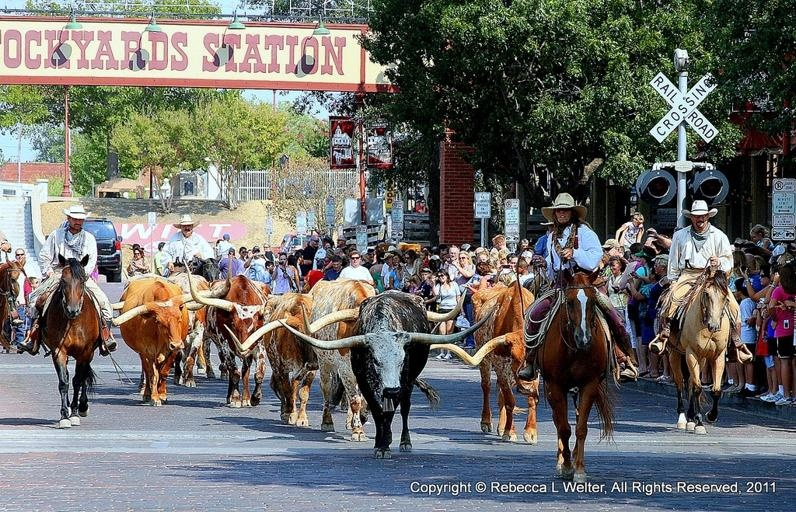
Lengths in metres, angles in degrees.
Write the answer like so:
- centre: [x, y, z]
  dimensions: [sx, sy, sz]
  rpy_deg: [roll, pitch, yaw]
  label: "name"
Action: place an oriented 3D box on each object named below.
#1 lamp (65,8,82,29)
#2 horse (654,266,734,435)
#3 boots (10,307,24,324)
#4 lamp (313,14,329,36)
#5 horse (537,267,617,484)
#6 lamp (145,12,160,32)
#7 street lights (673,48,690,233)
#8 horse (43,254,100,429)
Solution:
- centre: [-12.725, -9.270, 69.102]
  dimensions: [0.760, 0.742, 0.733]
  rpy_deg: [0, -2, -4]
  label: "lamp"
- centre: [7.174, 2.050, 41.639]
  dimensions: [1.494, 3.653, 2.147]
  rpy_deg: [2, 15, 5]
  label: "horse"
- centre: [-11.147, 1.644, 51.405]
  dimensions: [0.204, 0.519, 0.392]
  rpy_deg: [-9, -3, 17]
  label: "boots"
- centre: [-2.979, -9.063, 69.384]
  dimensions: [0.593, 0.702, 0.779]
  rpy_deg: [1, 14, 2]
  label: "lamp"
- centre: [4.001, 2.434, 37.977]
  dimensions: [1.843, 4.051, 2.040]
  rpy_deg: [1, 0, 3]
  label: "horse"
- centre: [-9.626, -9.114, 68.978]
  dimensions: [0.618, 0.592, 0.623]
  rpy_deg: [0, 1, -8]
  label: "lamp"
- centre: [7.573, -3.140, 46.107]
  dimensions: [0.839, 4.542, 0.648]
  rpy_deg: [0, 0, -2]
  label: "street lights"
- centre: [-7.967, 2.138, 42.977]
  dimensions: [1.494, 3.890, 6.050]
  rpy_deg: [-1, -5, -11]
  label: "horse"
